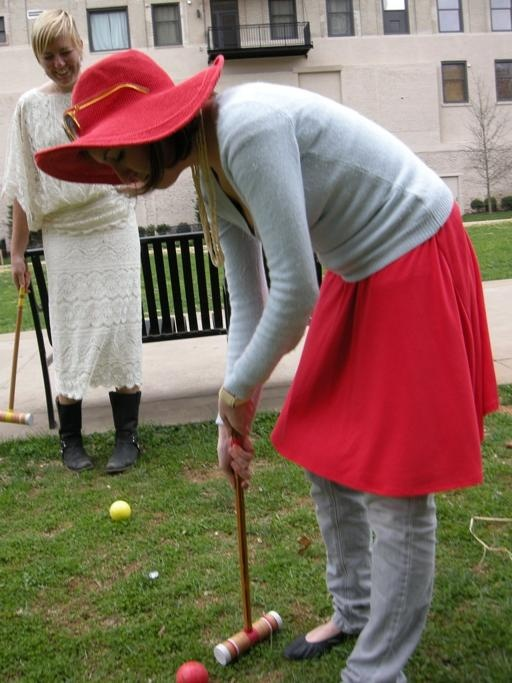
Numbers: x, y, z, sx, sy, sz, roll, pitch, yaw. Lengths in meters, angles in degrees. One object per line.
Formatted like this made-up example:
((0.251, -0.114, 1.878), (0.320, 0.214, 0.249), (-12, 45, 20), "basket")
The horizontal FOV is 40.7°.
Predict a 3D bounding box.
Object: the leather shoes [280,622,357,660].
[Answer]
((0.181, 0.834, 1.961), (0.205, 0.056, 0.080), (-15, -9, -12), "leather shoes")

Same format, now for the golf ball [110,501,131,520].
((-0.570, 0.699, 2.888), (0.071, 0.076, 0.074), (13, 10, -2), "golf ball")

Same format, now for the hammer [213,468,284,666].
((-0.036, 0.618, 1.911), (0.208, 0.570, 0.077), (-18, 23, -40), "hammer")

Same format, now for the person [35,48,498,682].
((0.103, 0.156, 1.551), (0.831, 1.578, 0.566), (1, 12, 20), "person")

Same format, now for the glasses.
((-0.325, -0.469, 1.502), (0.134, 0.132, 0.147), (-10, 8, 25), "glasses")

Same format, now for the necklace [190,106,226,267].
((-0.098, -0.306, 1.472), (0.061, 0.268, 0.077), (-2, 20, -3), "necklace")

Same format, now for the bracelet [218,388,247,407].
((-0.051, 0.128, 1.513), (0.053, 0.020, 0.039), (25, -11, -30), "bracelet")

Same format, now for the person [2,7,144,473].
((-0.777, -0.314, 3.495), (0.751, 2.609, 0.844), (-4, 20, -15), "person")
